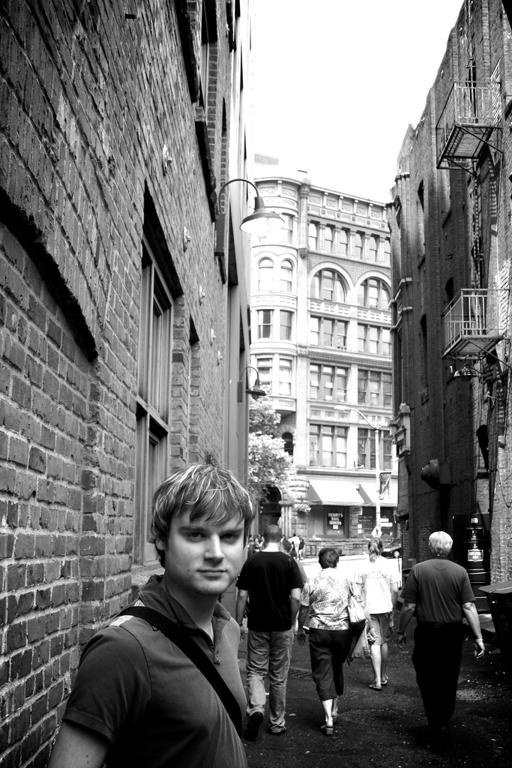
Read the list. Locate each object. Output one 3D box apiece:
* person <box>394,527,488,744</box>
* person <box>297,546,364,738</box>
[{"bbox_3d":[1.708,2.322,7.250,0.749,1.892,0.827,-3,-12,19],"label":"person"},{"bbox_3d":[0.731,2.490,7.598,0.550,1.730,0.792,-8,-14,41],"label":"person"}]
